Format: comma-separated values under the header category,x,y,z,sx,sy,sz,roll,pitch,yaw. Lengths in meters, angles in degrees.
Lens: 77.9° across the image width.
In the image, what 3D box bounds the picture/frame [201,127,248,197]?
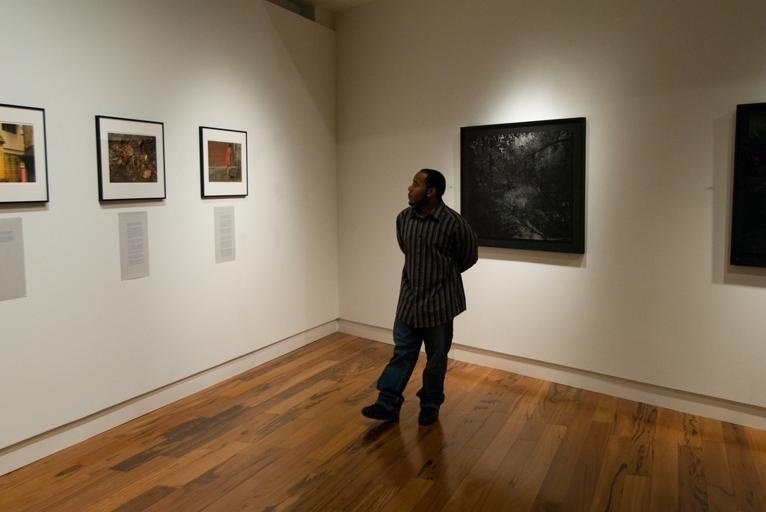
category,x,y,z,sx,sy,sz,roll,pitch,yaw
picture/frame,-1.587,-0.945,4.724,0.051,0.792,0.650,7,11,36

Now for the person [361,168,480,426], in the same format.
category,x,y,z,sx,sy,sz,roll,pitch,yaw
person,0.356,0.359,4.046,0.875,2.133,0.493,0,14,1

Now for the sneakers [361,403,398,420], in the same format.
category,x,y,z,sx,sy,sz,roll,pitch,yaw
sneakers,-0.011,1.343,4.125,0.329,0.150,0.136,12,6,-9

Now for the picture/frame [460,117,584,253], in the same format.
category,x,y,z,sx,sy,sz,roll,pitch,yaw
picture/frame,1.439,-0.711,4.724,1.271,1.361,0.102,4,9,35
